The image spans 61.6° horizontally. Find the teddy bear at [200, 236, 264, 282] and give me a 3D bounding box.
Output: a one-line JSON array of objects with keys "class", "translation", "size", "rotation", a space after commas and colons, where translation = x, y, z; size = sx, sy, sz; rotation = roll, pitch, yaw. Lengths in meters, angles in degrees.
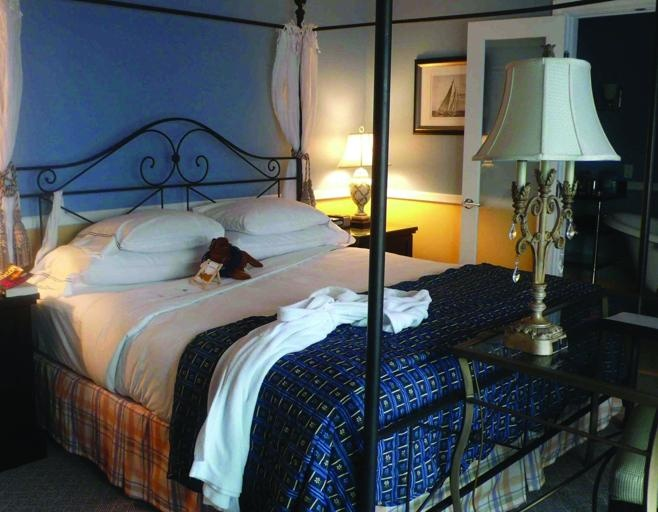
[{"class": "teddy bear", "translation": [-0.547, 0.006, 3.298], "size": [0.222, 0.232, 0.410], "rotation": [11, 15, 27]}]

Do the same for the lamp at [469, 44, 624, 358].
[{"class": "lamp", "translation": [0.979, -0.270, 2.473], "size": [0.501, 1.140, 1.699], "rotation": [10, 15, 25]}]

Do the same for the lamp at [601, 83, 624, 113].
[{"class": "lamp", "translation": [2.636, -1.489, 5.139], "size": [0.208, 0.308, 0.215], "rotation": [8, 19, 30]}]
